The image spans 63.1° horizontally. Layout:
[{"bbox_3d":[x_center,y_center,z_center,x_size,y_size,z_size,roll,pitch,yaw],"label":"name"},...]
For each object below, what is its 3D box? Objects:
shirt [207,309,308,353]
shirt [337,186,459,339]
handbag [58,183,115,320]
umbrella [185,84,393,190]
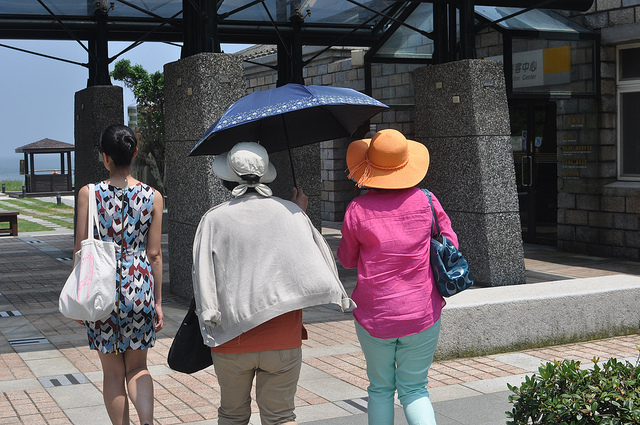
[{"bbox_3d":[-0.332,0.776,3.173,0.405,0.198,0.301,-14,-7,29],"label":"shirt"},{"bbox_3d":[0.529,0.297,3.708,0.845,0.975,0.629,-8,7,-1],"label":"shirt"},{"bbox_3d":[-1.567,0.279,3.519,0.344,0.924,0.308,1,5,31],"label":"handbag"},{"bbox_3d":[-0.282,-0.711,4.205,1.272,0.791,1.125,-23,-14,-22],"label":"umbrella"}]
